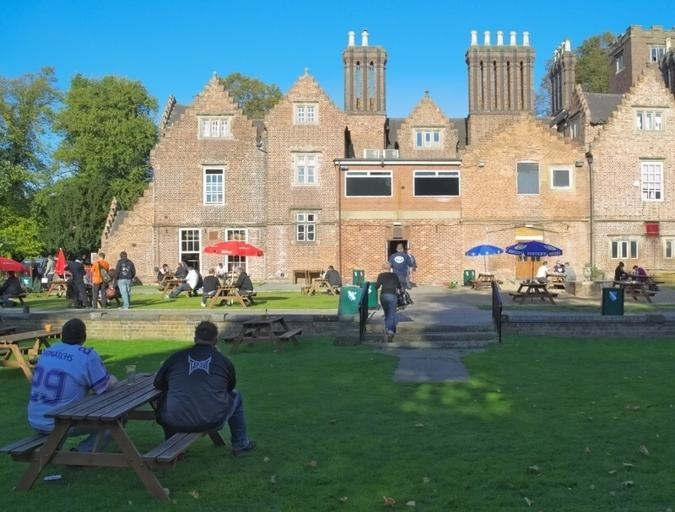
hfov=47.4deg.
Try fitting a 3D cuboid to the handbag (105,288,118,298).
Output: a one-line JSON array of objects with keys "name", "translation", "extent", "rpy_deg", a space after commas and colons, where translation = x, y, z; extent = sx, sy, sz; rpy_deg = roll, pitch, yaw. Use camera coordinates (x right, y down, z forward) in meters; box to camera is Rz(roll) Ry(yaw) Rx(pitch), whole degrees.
[{"name": "handbag", "translation": [-7.907, 1.295, 27.233], "extent": [0.410, 0.349, 0.398], "rpy_deg": [5, -7, -34]}]

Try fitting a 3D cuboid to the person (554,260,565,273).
[{"name": "person", "translation": [10.538, 0.506, 37.216], "extent": [0.572, 0.749, 0.565], "rpy_deg": [-4, -5, 25]}]

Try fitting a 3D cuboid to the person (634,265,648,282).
[{"name": "person", "translation": [12.295, 0.729, 31.395], "extent": [0.449, 0.941, 0.375], "rpy_deg": [-11, 15, 8]}]

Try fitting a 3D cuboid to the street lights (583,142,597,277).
[{"name": "street lights", "translation": [13.137, -2.491, 40.317], "extent": [0.663, 6.496, 0.730], "rpy_deg": [-5, -18, 33]}]

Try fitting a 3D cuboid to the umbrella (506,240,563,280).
[{"name": "umbrella", "translation": [8.327, 0.001, 33.128], "extent": [1.938, 1.226, 1.826], "rpy_deg": [1, 6, 10]}]

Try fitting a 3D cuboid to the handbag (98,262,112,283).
[{"name": "handbag", "translation": [-7.891, 0.561, 26.176], "extent": [0.417, 0.866, 0.687], "rpy_deg": [-5, 7, -6]}]

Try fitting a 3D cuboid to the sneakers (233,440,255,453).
[{"name": "sneakers", "translation": [-1.462, 3.054, 12.326], "extent": [0.362, 0.146, 0.137], "rpy_deg": [-11, 18, -28]}]

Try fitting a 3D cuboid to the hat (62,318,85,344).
[{"name": "hat", "translation": [-3.949, 1.074, 11.573], "extent": [0.303, 0.349, 0.413], "rpy_deg": [3, 14, -12]}]

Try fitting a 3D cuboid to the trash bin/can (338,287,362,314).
[{"name": "trash bin/can", "translation": [0.355, 1.252, 21.946], "extent": [0.624, 0.694, 0.782], "rpy_deg": [0, 7, 6]}]

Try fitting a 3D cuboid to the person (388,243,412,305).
[{"name": "person", "translation": [2.105, 0.584, 25.759], "extent": [0.807, 2.073, 0.721], "rpy_deg": [3, 19, 7]}]

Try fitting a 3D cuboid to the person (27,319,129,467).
[{"name": "person", "translation": [-4.096, 1.948, 11.831], "extent": [1.176, 1.988, 1.374], "rpy_deg": [16, 19, 30]}]

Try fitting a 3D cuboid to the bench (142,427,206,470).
[{"name": "bench", "translation": [-2.420, 2.826, 11.195], "extent": [0.525, 0.354, 0.686], "rpy_deg": [2, 7, 21]}]
